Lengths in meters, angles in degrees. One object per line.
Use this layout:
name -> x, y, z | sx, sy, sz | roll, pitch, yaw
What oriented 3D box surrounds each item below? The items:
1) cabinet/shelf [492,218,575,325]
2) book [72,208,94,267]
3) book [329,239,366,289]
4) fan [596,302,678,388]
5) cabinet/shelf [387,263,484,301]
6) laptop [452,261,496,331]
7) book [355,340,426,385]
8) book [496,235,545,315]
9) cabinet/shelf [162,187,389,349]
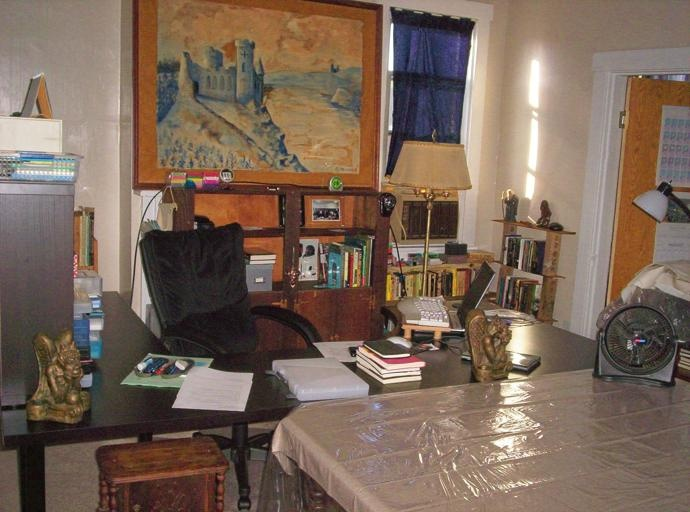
cabinet/shelf -> 1.778, 0.181, 5.527 | 0.184, 0.639, 0.714 | 4, 7, -19
book -> -2.046, -0.143, 4.621 | 0.133, 0.490, 0.284 | -2, 5, -21
book -> -0.031, 0.048, 4.922 | 0.305, 0.412, 0.411 | 0, 10, -13
fan -> 1.373, 0.401, 2.761 | 0.370, 0.359, 0.363 | 4, 8, 25
cabinet/shelf -> 0.770, 0.244, 5.393 | 0.841, 0.296, 0.187 | -1, 11, 8
laptop -> 0.817, 0.248, 3.834 | 0.243, 0.229, 0.326 | 17, 10, -1
book -> 0.196, 0.465, 2.692 | 0.181, 0.070, 0.231 | 1, 9, -15
book -> 1.619, 0.182, 5.386 | 0.264, 0.756, 0.652 | 0, 8, -30
cabinet/shelf -> -0.368, 0.212, 4.881 | 1.330, 1.483, 0.430 | 1, 14, 18
